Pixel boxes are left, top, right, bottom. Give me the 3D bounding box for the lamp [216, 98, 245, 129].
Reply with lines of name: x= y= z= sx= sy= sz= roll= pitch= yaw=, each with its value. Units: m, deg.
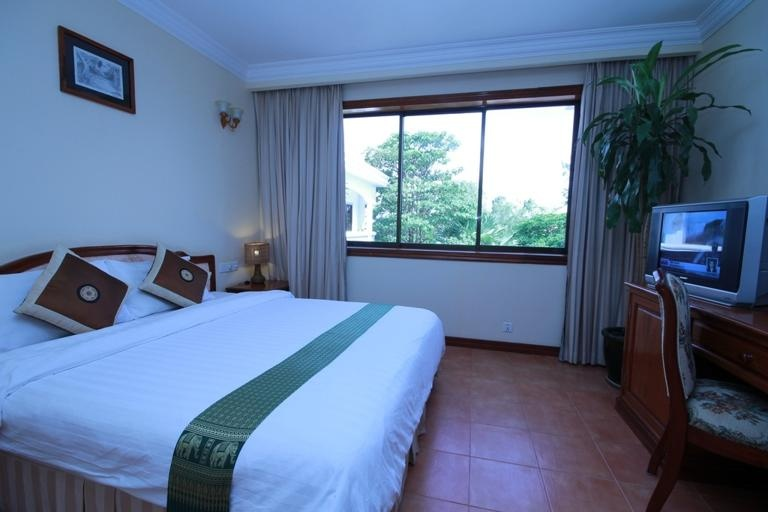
lamp: x=-1.700 y=-1.559 z=5.470 sx=0.242 sy=0.308 sz=0.412 roll=10 pitch=7 yaw=16
